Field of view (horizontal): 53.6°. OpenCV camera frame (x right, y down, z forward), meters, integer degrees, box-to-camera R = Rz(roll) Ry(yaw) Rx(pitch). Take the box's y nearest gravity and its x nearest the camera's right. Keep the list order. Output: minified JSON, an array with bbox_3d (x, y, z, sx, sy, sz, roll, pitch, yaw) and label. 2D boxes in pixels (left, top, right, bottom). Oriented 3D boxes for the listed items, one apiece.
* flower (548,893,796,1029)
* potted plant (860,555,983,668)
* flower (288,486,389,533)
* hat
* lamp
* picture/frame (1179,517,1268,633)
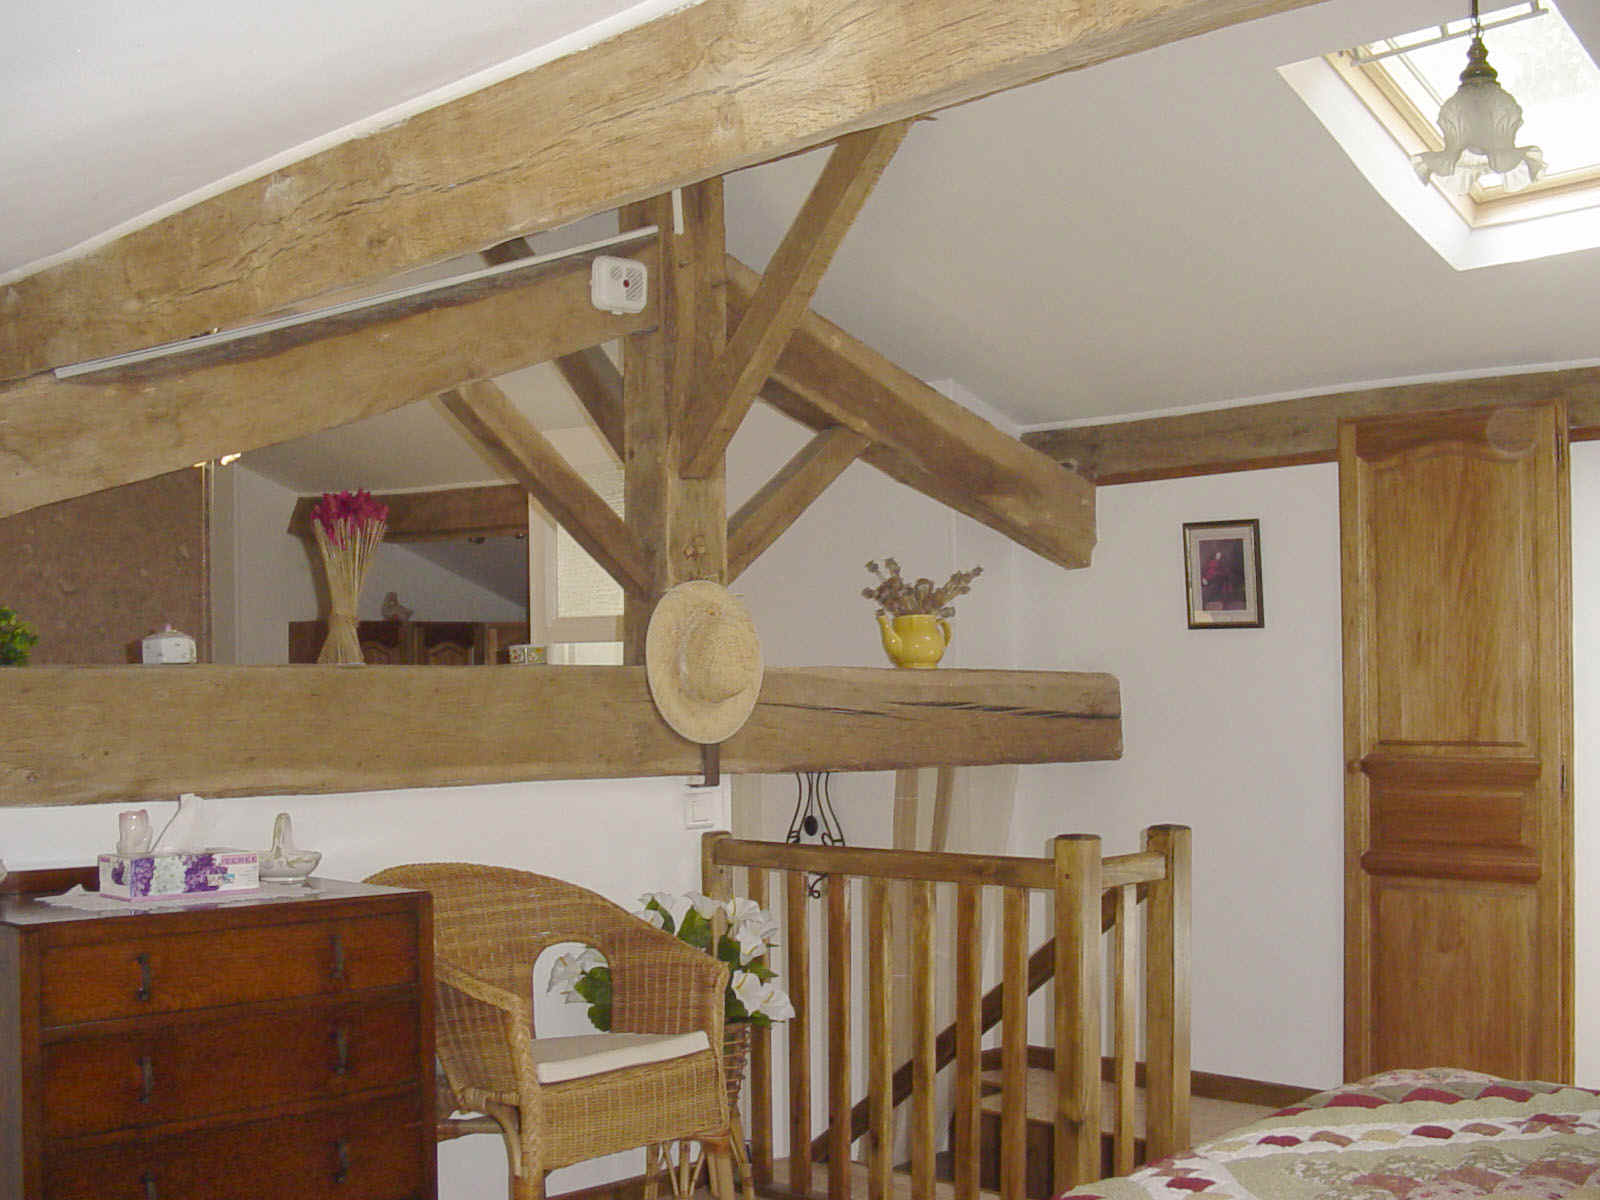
[{"bbox_3d":[-0.386,1.003,4.467,0.458,0.271,0.494,-14,-17,26],"label":"flower"},{"bbox_3d":[0.481,0.035,6.041,0.420,0.415,0.221,1,-5,-21],"label":"potted plant"},{"bbox_3d":[-1.787,-0.343,6.009,0.323,0.200,0.346,-3,-1,0],"label":"flower"},{"bbox_3d":[-0.293,0.182,4.753,0.415,0.458,0.123,-21,12,-41],"label":"hat"},{"bbox_3d":[1.897,-1.386,4.462,0.327,0.396,0.261,-3,-7,23],"label":"lamp"},{"bbox_3d":[1.694,-0.105,6.318,0.414,0.557,0.036,-3,-4,41],"label":"picture/frame"}]
